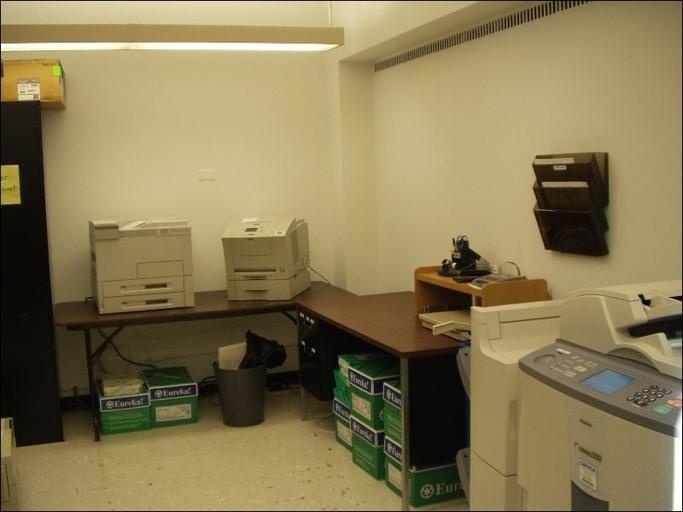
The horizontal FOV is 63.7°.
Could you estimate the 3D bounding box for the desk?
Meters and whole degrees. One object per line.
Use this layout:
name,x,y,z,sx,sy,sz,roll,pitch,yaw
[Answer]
desk,-0.503,0.400,3.306,1.819,0.763,1.593,-2,8,-24

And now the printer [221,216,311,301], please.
printer,-0.503,0.013,3.925,0.522,0.565,0.576,-3,0,9

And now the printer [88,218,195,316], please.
printer,-1.242,0.072,3.728,0.834,0.800,0.525,-2,6,-18

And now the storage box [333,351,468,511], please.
storage box,0.318,0.926,3.064,0.537,0.705,1.021,-2,6,-21

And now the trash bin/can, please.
trash bin/can,-0.653,0.930,3.799,0.368,0.397,0.361,1,1,40
